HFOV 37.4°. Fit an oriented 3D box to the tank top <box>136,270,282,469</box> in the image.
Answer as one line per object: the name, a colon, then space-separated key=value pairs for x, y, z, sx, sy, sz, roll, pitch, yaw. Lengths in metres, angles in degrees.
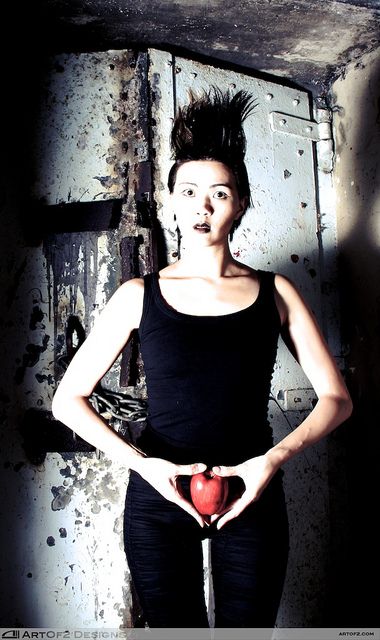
tank top: x=0.058 y=0.154 z=1.572 sx=0.472 sy=0.362 sz=0.686 roll=1 pitch=80 yaw=-2

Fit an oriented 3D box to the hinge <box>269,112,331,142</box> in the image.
hinge: x=0.426 y=-0.746 z=2.173 sx=0.251 sy=0.055 sz=0.077 roll=1 pitch=73 yaw=-12

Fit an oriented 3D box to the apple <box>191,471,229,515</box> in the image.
apple: x=0.043 y=0.388 z=1.259 sx=0.088 sy=0.088 sz=0.100 roll=5 pitch=82 yaw=-4

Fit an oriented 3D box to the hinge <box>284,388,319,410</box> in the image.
hinge: x=0.411 y=0.290 z=2.069 sx=0.134 sy=0.032 sz=0.076 roll=0 pitch=74 yaw=-12

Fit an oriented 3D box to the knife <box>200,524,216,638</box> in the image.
knife: x=0.069 y=0.773 z=1.871 sx=0.054 sy=0.055 sz=0.524 roll=-1 pitch=97 yaw=4
